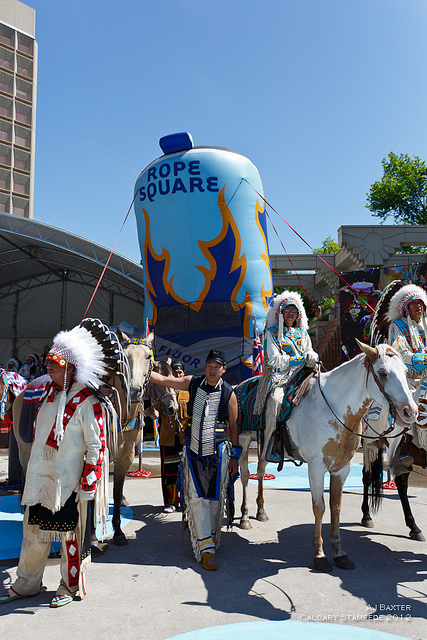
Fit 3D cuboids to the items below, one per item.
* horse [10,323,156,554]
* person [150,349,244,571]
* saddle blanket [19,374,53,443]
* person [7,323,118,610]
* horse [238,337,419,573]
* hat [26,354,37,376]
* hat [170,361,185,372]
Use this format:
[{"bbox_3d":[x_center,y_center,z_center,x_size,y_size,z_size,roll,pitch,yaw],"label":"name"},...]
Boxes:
[{"bbox_3d":[-1.286,1.202,5.600,2.749,1.885,0.719,-9,3,37],"label":"horse"},{"bbox_3d":[-0.036,1.166,4.845,0.547,1.803,0.602,1,-7,-4],"label":"person"},{"bbox_3d":[-1.688,0.817,5.130,0.240,0.621,0.425,3,-8,-20],"label":"saddle blanket"},{"bbox_3d":[-1.060,0.984,3.907,0.707,1.948,0.360,1,-7,-10],"label":"person"},{"bbox_3d":[0.983,1.139,4.878,0.558,1.848,2.170,3,-8,-23],"label":"horse"},{"bbox_3d":[-5.991,1.500,18.298,0.235,0.589,0.453,3,0,-41],"label":"hat"},{"bbox_3d":[-0.462,0.578,7.054,0.131,0.160,0.150,2,2,4],"label":"hat"}]
